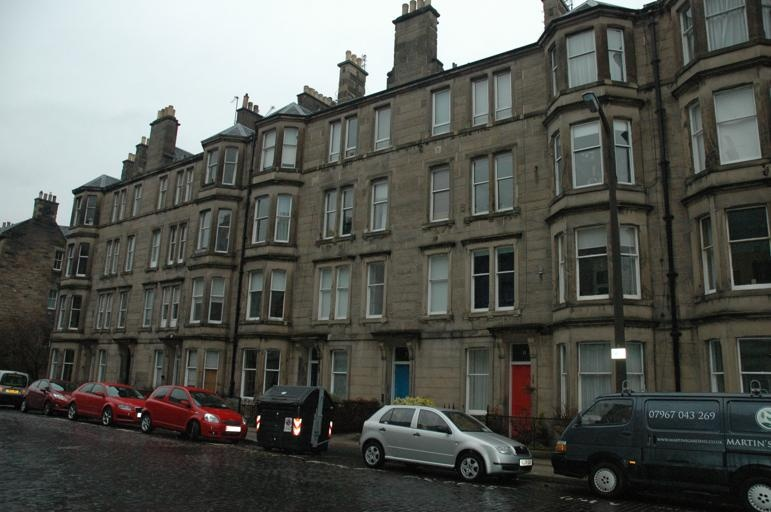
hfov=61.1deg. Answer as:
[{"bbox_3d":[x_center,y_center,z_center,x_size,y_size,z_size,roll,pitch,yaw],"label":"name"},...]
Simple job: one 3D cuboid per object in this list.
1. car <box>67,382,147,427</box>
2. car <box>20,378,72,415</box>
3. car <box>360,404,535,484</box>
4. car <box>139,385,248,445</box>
[{"bbox_3d":[-14.111,7.567,33.399,4.901,2.205,1.603,-12,-20,38],"label":"car"},{"bbox_3d":[-19.285,8.091,37.292,1.413,2.079,4.846,14,-20,-39],"label":"car"},{"bbox_3d":[2.120,6.680,23.331,5.354,1.936,2.673,-9,-17,31],"label":"car"},{"bbox_3d":[-8.622,7.066,29.406,4.909,2.365,1.603,-10,-19,32],"label":"car"}]
